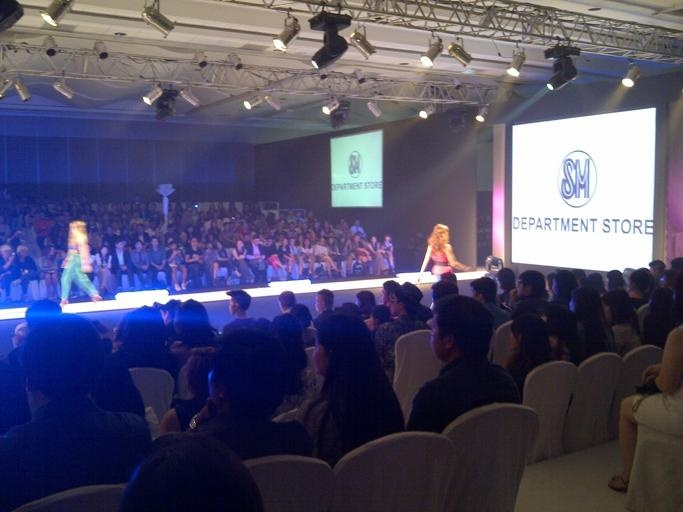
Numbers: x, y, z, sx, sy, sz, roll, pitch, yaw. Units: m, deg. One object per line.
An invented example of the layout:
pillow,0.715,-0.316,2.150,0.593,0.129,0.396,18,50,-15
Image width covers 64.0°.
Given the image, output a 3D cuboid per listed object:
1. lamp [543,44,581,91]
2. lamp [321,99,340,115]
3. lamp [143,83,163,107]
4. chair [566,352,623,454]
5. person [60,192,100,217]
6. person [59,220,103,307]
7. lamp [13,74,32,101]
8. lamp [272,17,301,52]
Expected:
lamp,3.334,-3.080,8.372,0.453,0.467,0.828,16,-37,20
lamp,-0.226,-3.466,12.582,0.438,0.340,0.475,-2,2,6
lamp,-3.827,-3.261,11.120,0.344,0.262,0.741,-3,2,-17
chair,1.741,0.975,4.008,0.382,0.692,0.545,-5,11,-4
person,-8.027,-1.660,16.719,1.083,0.668,0.664,-4,3,-31
person,-4.944,0.127,10.227,0.652,1.181,0.604,-3,2,-25
lamp,-5.614,-2.931,9.589,0.188,0.348,0.625,-4,2,-30
lamp,-0.726,-2.953,7.192,0.326,0.444,0.255,-2,2,1
